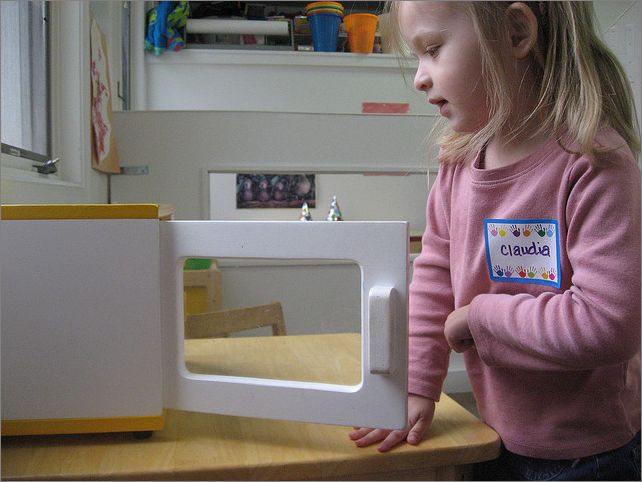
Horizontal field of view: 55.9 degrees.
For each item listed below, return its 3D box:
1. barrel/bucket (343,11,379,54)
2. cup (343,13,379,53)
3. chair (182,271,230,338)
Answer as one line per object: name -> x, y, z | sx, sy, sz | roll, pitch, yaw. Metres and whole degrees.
barrel/bucket -> 0.232, -1.183, 3.513 | 0.211, 0.193, 0.221 | -2, 2, 0
cup -> 0.231, -1.183, 3.512 | 0.211, 0.193, 0.221 | -2, 3, 0
chair -> -0.205, 0.100, 1.110 | 0.101, 0.152, 0.103 | -3, 5, -4
